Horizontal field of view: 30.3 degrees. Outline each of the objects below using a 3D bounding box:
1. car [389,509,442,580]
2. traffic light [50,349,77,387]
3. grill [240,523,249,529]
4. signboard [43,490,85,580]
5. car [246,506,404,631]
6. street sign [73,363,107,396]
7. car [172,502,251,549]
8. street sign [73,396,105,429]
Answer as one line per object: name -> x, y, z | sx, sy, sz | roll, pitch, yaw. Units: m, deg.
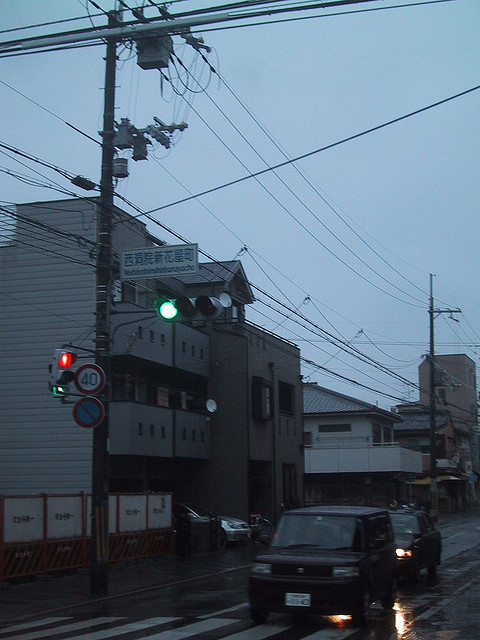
car -> 3.396, 4.680, 18.597 | 1.383, 1.043, 2.451 | -9, -24, 17
traffic light -> -3.178, 0.868, 15.784 | 0.337, 0.693, 0.626 | -8, -15, 17
grill -> 0.144, 6.611, 28.406 | 0.272, 0.186, 0.411 | -7, -14, 14
signboard -> -3.895, 4.694, 19.734 | 0.415, 1.671, 1.489 | -7, -15, 11
car -> 1.332, 3.574, 13.547 | 1.776, 1.450, 3.063 | -1, -5, 18
street sign -> -2.735, 1.098, 16.291 | 0.574, 0.630, 0.367 | 0, -15, -15
car -> -1.073, 6.609, 28.394 | 2.712, 0.809, 1.333 | 2, -6, 13
street sign -> -2.744, 1.660, 16.084 | 0.531, 0.535, 0.376 | -1, -15, -10
